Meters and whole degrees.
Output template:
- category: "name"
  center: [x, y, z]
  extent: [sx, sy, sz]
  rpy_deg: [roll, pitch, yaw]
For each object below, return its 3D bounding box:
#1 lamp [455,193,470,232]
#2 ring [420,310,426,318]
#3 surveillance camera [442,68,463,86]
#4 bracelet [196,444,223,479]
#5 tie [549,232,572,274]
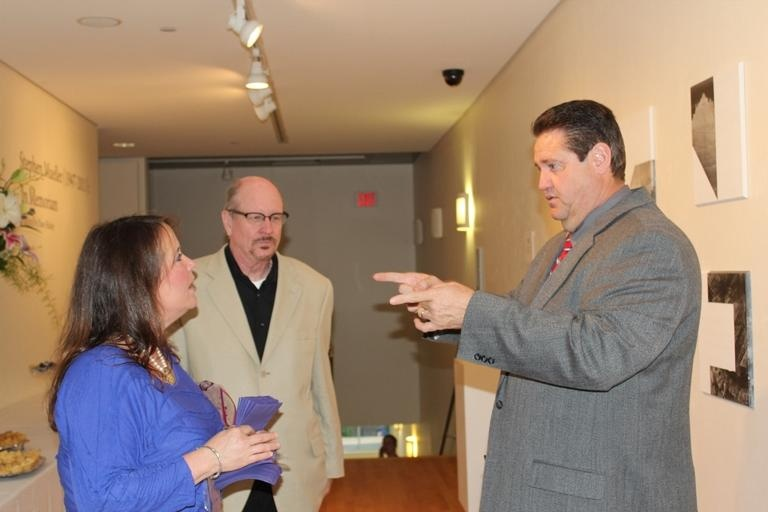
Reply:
- category: "lamp"
  center: [0.757, -0.417, 5.724]
  extent: [0.064, 0.288, 0.149]
  rpy_deg: [1, -1, -40]
- category: "ring"
  center: [0.136, 0.214, 2.172]
  extent: [0.028, 0.024, 0.042]
  rpy_deg: [1, -13, 2]
- category: "surveillance camera"
  center: [0.537, -1.385, 4.643]
  extent: [0.170, 0.100, 0.172]
  rpy_deg: [-3, -5, 7]
- category: "bracelet"
  center: [-0.582, 0.676, 1.972]
  extent: [0.024, 0.093, 0.087]
  rpy_deg: [-10, 30, -22]
- category: "tie"
  center: [0.693, 0.007, 2.328]
  extent: [0.060, 0.152, 0.112]
  rpy_deg: [38, -40, -21]
